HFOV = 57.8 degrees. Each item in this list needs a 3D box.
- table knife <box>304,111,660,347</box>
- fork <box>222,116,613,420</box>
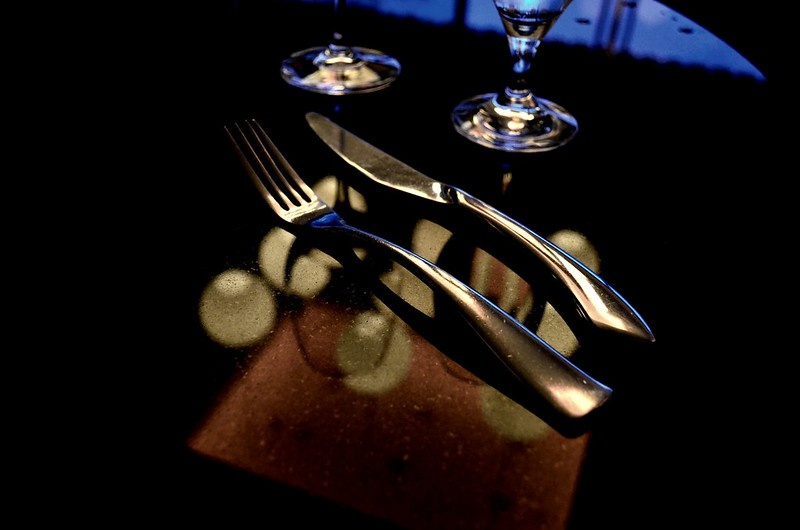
[{"bbox_3d":[0.100,-0.037,0.897,0.423,0.036,0.063,36,44,22],"label":"table knife"},{"bbox_3d":[0.018,0.013,0.856,0.488,0.073,0.067,36,52,23],"label":"fork"}]
